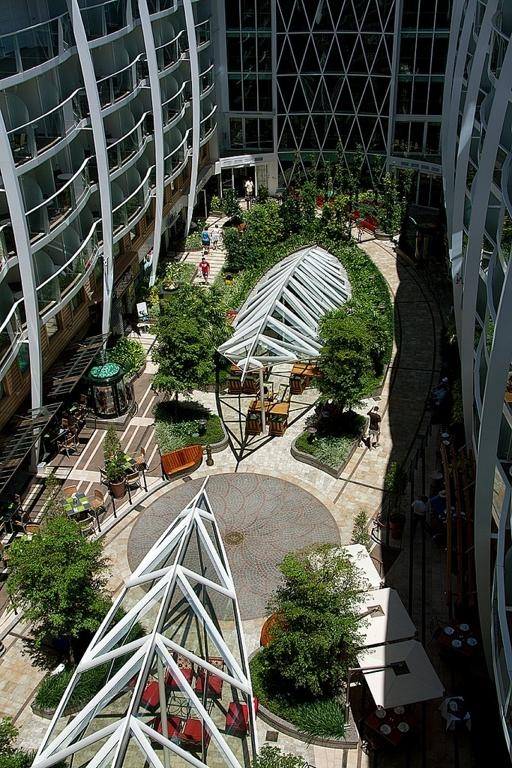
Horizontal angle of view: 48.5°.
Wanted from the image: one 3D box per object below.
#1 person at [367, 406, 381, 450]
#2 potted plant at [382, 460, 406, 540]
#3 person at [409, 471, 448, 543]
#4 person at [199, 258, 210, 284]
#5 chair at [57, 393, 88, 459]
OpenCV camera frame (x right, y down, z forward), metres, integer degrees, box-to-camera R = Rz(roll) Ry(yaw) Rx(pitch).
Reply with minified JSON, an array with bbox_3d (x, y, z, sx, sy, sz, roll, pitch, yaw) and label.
[{"bbox_3d":[5.137,1.812,24.733,0.547,1.419,1.849,6,13,14],"label":"person"},{"bbox_3d":[4.914,3.923,20.225,0.695,2.524,1.996,5,13,9],"label":"potted plant"},{"bbox_3d":[6.180,4.289,20.329,1.043,1.631,2.414,7,13,14],"label":"person"},{"bbox_3d":[-3.416,-7.552,37.901,0.670,1.385,2.903,2,14,-6],"label":"person"},{"bbox_3d":[-7.900,1.926,25.018,1.355,0.797,3.598,16,49,-26],"label":"chair"}]
